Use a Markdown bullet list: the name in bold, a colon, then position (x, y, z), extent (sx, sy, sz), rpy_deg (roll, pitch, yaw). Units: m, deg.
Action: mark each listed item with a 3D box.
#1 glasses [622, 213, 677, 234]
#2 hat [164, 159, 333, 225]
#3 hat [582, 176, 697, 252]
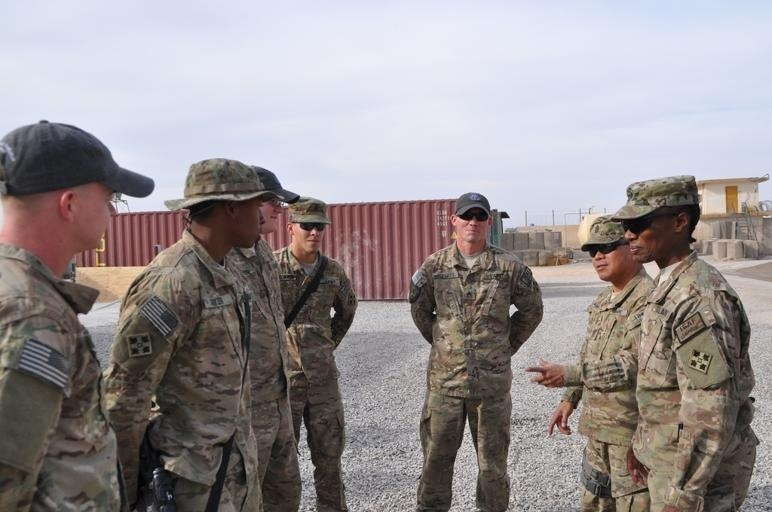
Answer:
- **glasses**: position (1.451, -0.181, 3.822), extent (0.178, 0.054, 0.132), rpy_deg (-12, 1, -8)
- **hat**: position (-0.825, -0.332, 3.941), extent (0.756, 0.228, 0.641), rpy_deg (0, 1, -27)
- **hat**: position (1.497, -0.206, 3.882), extent (0.581, 0.194, 0.375), rpy_deg (-22, 1, 0)
